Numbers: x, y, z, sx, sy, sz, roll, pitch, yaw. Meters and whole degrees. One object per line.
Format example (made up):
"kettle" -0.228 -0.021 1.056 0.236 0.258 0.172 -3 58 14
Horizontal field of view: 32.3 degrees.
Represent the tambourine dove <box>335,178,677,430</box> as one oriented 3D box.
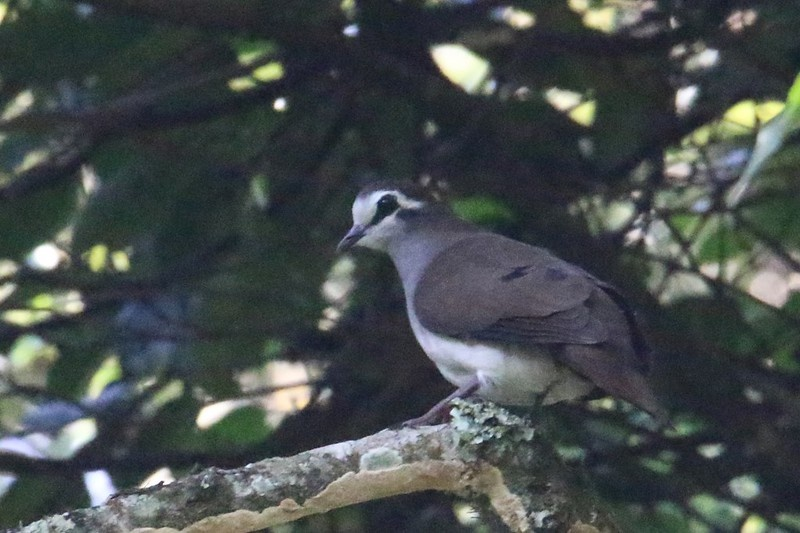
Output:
"tambourine dove" 0.329 0.061 3.579 0.462 0.610 1.019 1 -5 -44
